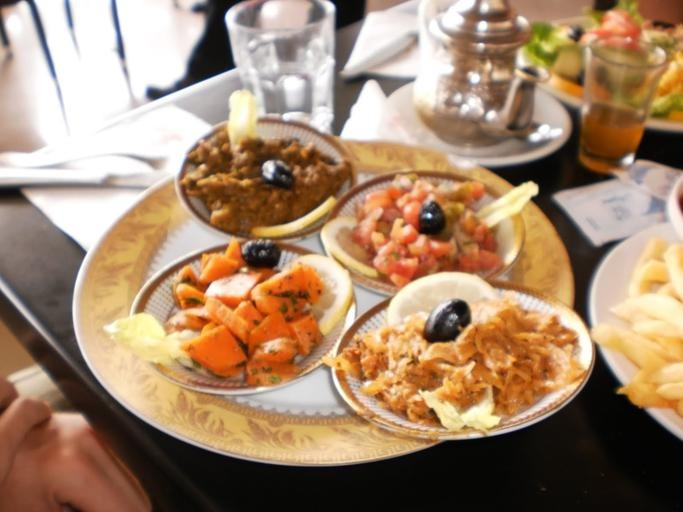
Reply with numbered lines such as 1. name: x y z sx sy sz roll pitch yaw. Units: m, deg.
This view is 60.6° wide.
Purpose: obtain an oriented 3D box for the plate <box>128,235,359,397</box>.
1. plate: -0.665 0.269 2.644 0.715 0.201 0.766 -1 40 -1

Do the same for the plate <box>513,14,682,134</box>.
1. plate: 1.623 -1.174 3.769 0.894 0.228 0.921 -20 53 -17

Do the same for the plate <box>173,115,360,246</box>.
1. plate: -0.394 -0.434 3.178 0.744 0.298 0.750 37 58 27

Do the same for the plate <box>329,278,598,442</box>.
1. plate: 0.523 0.452 2.626 0.942 0.563 0.800 -2 34 -1

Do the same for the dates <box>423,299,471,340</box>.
1. dates: 0.442 0.280 2.435 0.192 0.117 0.126 -45 59 -5
